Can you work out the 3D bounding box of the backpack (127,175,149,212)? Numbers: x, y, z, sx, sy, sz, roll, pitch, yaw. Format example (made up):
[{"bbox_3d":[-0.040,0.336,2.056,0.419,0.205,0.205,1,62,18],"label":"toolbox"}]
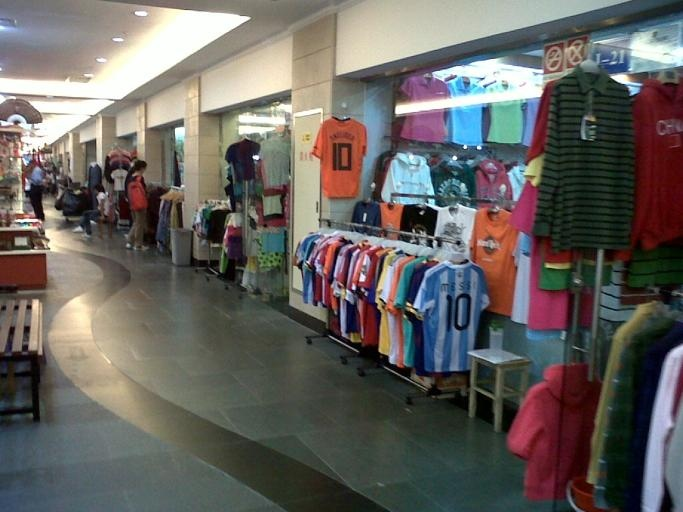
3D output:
[{"bbox_3d":[-4.893,-1.523,12.509,0.413,0.857,0.663,-1,9,-21],"label":"backpack"}]

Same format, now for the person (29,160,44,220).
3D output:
[{"bbox_3d":[-9.588,-2.058,16.211,0.557,1.884,0.531,0,8,-12],"label":"person"}]

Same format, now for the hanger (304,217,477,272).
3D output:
[{"bbox_3d":[0.390,-0.146,5.106,1.895,0.714,0.549,4,14,36],"label":"hanger"}]

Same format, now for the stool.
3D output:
[{"bbox_3d":[1.264,1.042,4.255,0.489,0.580,0.596,6,9,24],"label":"stool"}]

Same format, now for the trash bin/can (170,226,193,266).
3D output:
[{"bbox_3d":[-3.318,-0.194,10.925,0.578,0.922,0.891,0,2,-19],"label":"trash bin/can"}]
